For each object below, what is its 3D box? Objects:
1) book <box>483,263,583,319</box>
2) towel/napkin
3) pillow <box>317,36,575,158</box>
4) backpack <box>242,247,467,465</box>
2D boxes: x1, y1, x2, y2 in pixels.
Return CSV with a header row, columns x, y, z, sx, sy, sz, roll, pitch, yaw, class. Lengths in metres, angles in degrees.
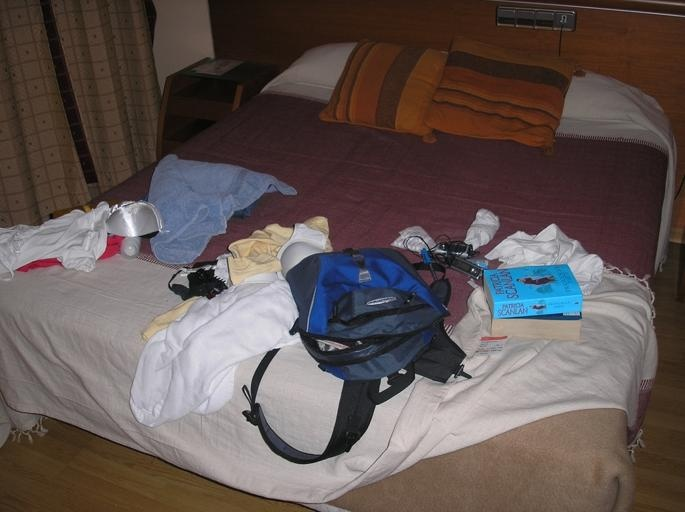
x,y,z,sx,sy,sz,roll,pitch,yaw,class
0.591,0.111,1.653,0.209,0.045,0.196,-1,31,7,book
-0.556,-0.212,2.161,0.485,0.164,0.471,15,30,13,towel/napkin
0.479,-0.801,2.647,1.011,0.164,0.595,13,65,15,pillow
0.019,0.302,1.670,0.649,0.536,0.454,-1,28,-11,backpack
